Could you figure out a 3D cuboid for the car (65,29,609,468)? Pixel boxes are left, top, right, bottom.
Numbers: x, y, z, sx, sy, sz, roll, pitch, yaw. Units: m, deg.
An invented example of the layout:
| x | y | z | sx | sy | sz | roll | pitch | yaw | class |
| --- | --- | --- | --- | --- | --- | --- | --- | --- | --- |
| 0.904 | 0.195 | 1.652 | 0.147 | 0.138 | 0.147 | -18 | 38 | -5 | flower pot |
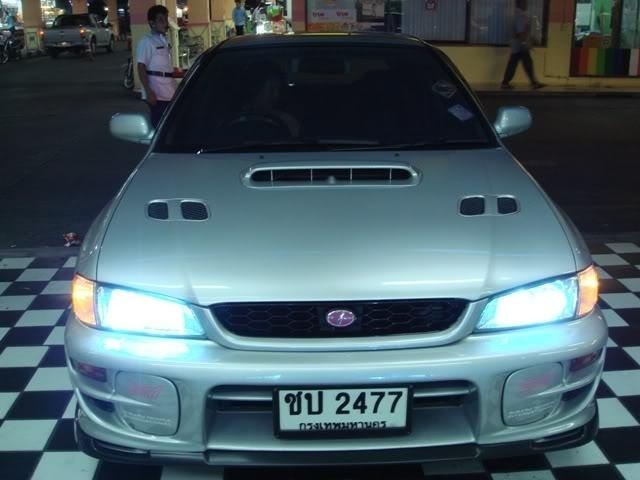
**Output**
| x | y | z | sx | sy | sz | roll | pitch | yaw | class |
| --- | --- | --- | --- | --- | --- | --- | --- | --- | --- |
| 0.022 | -0.175 | 2.400 | 1.944 | 1.422 | 1.918 | -4 | 22 | 0 | car |
